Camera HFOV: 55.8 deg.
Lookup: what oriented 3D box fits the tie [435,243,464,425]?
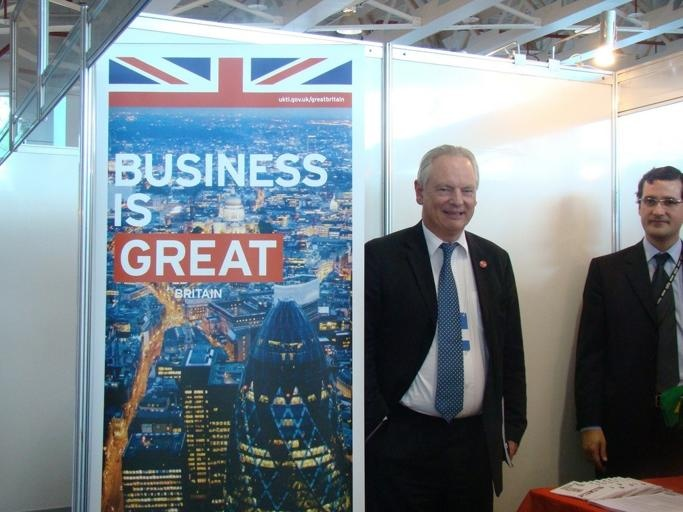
[{"bbox_3d":[0.516,0.353,3.110,0.139,0.834,0.172,-1,-1,7],"label":"tie"}]

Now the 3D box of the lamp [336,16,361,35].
[{"bbox_3d":[0.100,-3.145,8.784,0.312,0.072,0.309,-1,9,-12],"label":"lamp"}]

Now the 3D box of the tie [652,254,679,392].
[{"bbox_3d":[1.784,0.357,3.536,0.126,0.748,0.173,-2,-2,26],"label":"tie"}]

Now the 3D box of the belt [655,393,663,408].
[{"bbox_3d":[1.703,0.777,3.464,0.014,0.055,0.055,4,10,10],"label":"belt"}]
